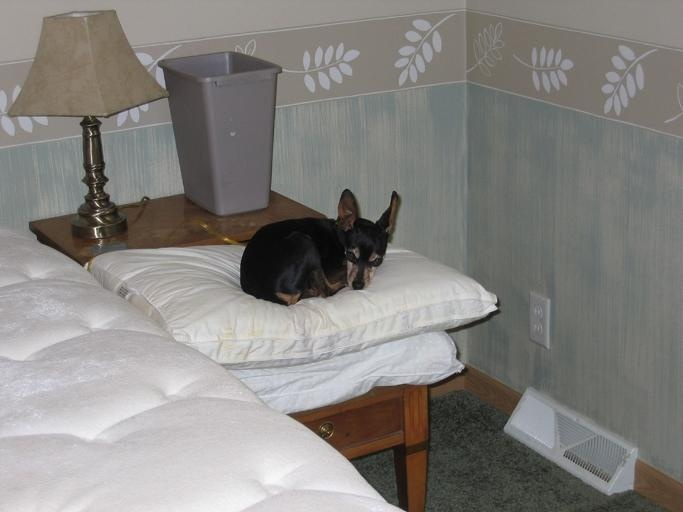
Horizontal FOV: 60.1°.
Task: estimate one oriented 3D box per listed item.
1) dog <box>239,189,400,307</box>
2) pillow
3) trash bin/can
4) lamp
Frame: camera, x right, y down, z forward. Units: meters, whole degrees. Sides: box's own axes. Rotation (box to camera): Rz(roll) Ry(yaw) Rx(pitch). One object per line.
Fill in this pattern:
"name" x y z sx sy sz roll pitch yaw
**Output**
"dog" -0.050 -0.037 1.456 0.357 0.253 0.237 -1 19 -18
"pillow" -0.066 0.142 1.349 0.607 0.215 0.514 -8 21 -33
"trash bin/can" -0.364 -0.382 1.857 0.337 0.399 0.355 -9 21 -18
"lamp" -0.694 -0.362 1.653 0.355 0.604 0.242 3 20 9
